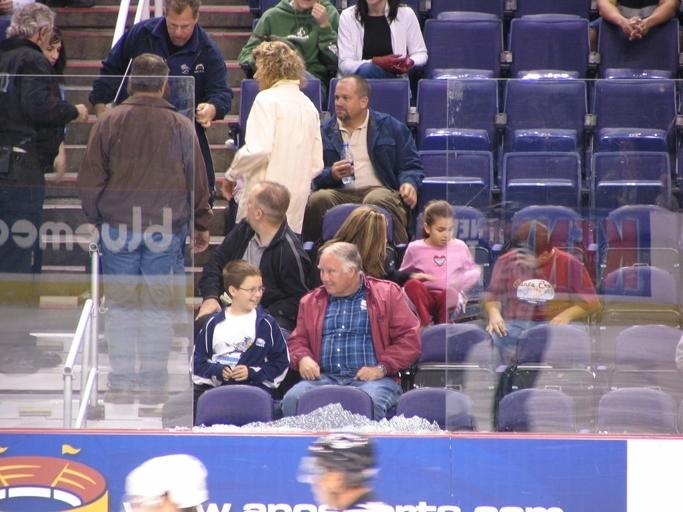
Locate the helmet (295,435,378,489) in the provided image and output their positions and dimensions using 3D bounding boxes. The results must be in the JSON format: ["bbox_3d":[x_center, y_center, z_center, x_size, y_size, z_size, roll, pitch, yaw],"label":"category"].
[{"bbox_3d":[-0.030,0.899,7.660,0.302,0.235,0.211,11,-11,4],"label":"helmet"}]
